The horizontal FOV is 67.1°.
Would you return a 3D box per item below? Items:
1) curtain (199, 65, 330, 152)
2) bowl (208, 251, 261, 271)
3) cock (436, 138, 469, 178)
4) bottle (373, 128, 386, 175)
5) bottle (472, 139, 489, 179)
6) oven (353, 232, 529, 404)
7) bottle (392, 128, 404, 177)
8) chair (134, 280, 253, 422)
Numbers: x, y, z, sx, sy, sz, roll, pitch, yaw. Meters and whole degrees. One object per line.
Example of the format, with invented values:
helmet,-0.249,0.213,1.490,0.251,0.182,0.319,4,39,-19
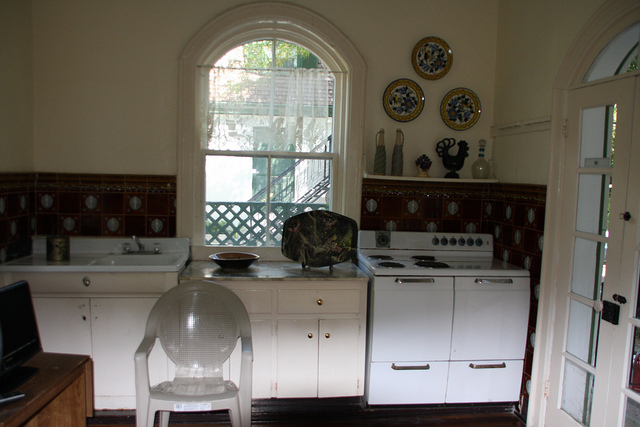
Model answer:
curtain,-0.507,-0.968,4.442,1.175,0.753,0.059,0,4,-4
bowl,-0.743,0.404,4.249,0.421,0.111,0.463,0,4,-8
cock,1.222,-0.539,4.491,0.336,0.459,0.150,1,-10,1
bottle,0.558,-0.576,4.421,0.118,0.420,0.079,-2,4,-23
bottle,1.472,-0.503,4.438,0.145,0.353,0.121,-1,4,-11
oven,1.027,0.894,4.290,1.402,1.448,0.771,2,4,-12
bottle,0.716,-0.568,4.412,0.101,0.454,0.195,1,4,9
chair,-0.810,0.885,3.130,0.717,0.841,0.384,-1,4,-11
